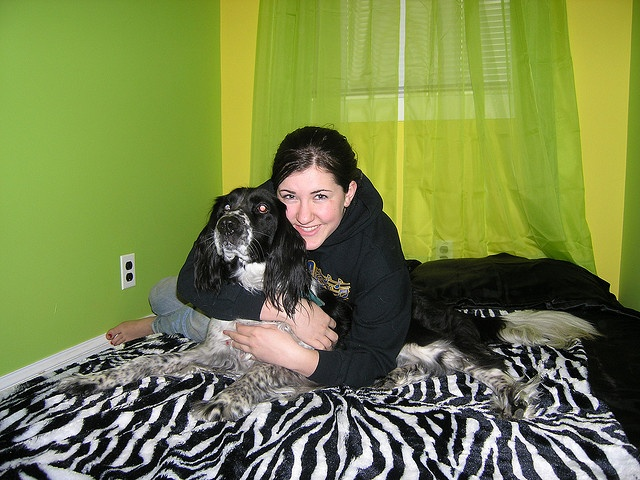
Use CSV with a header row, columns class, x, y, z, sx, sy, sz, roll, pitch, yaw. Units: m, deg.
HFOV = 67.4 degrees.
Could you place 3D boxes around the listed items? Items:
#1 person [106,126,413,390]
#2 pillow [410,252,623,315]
class,x,y,z,sx,sy,sz,roll,pitch,yaw
person,-0.112,0.149,2.601,1.318,1.122,1.234,-2,17,-45
pillow,1.273,0.295,3.184,0.784,0.174,0.641,5,13,20
